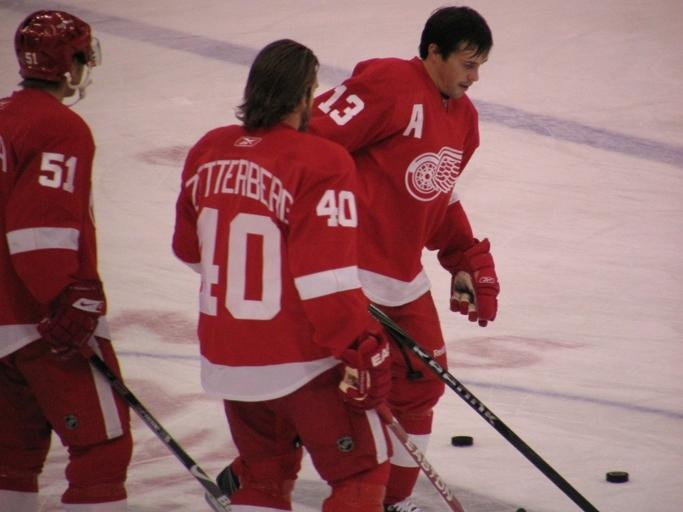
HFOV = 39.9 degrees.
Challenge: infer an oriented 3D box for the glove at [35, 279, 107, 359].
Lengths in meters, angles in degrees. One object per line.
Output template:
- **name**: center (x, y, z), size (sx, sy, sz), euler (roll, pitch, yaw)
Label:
- **glove**: center (-0.956, 0.208, 3.300), size (0.191, 0.246, 0.170), euler (11, 17, -6)

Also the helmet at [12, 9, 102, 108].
- **helmet**: center (-1.034, -0.732, 3.530), size (0.398, 0.364, 0.311), euler (4, 6, -38)

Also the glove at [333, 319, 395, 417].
- **glove**: center (0.088, 0.345, 3.018), size (0.115, 0.299, 0.164), euler (26, 20, 33)
